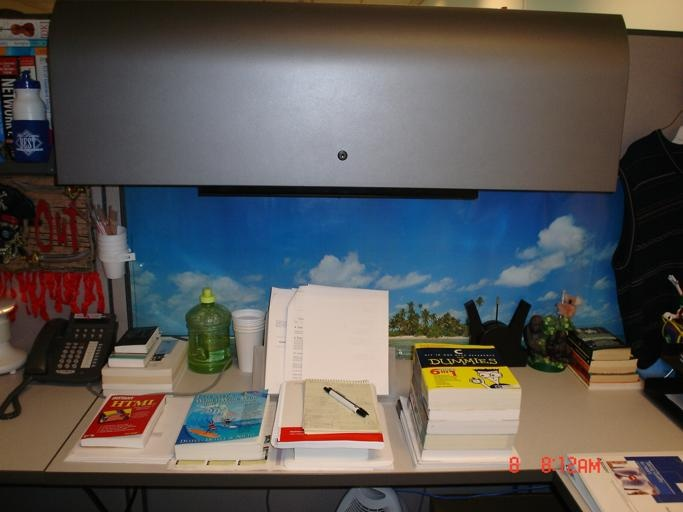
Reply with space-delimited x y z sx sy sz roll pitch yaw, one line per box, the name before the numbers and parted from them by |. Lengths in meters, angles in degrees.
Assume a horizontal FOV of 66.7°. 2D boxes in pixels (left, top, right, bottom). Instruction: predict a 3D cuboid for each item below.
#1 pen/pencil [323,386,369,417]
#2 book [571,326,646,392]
pen/pencil | 0.012 0.476 1.680 0.112 0.017 0.026 27 21 27
book | 1.012 0.394 2.002 0.218 0.135 0.217 1 6 -2
